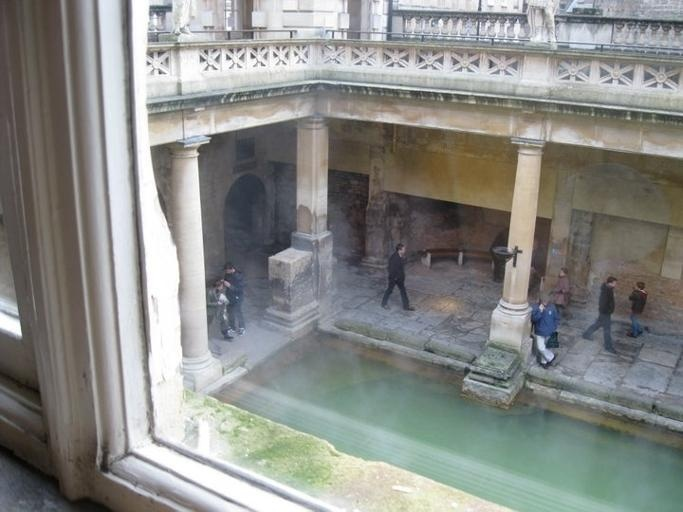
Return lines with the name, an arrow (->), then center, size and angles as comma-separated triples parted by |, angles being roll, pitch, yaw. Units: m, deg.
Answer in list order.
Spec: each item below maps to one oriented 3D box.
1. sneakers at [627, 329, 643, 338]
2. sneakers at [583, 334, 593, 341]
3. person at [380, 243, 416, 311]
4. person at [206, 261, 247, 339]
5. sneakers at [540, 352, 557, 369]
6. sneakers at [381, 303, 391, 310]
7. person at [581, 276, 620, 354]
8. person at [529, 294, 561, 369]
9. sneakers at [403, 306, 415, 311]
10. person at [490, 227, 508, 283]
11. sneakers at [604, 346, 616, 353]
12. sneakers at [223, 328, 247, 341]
sneakers -> 7.117, 1.913, 13.011 | 0.143, 0.269, 0.274 | -20, 32, -29
sneakers -> 5.865, 1.961, 12.717 | 0.120, 0.166, 0.044 | 7, -8, 3
person -> 1.542, 0.474, 14.072 | 0.831, 1.850, 0.947 | 6, 19, 8
person -> -2.627, 1.168, 12.062 | 0.515, 1.582, 1.250 | 11, 21, 22
sneakers -> 4.499, 2.297, 11.628 | 0.238, 0.581, 0.198 | -2, 47, -12
sneakers -> 1.161, 1.349, 14.050 | 0.225, 0.224, 0.108 | 3, 43, 3
person -> 6.063, 1.259, 12.213 | 0.721, 1.793, 0.777 | 12, 21, 24
person -> 4.391, 1.692, 11.592 | 0.654, 1.367, 0.463 | 12, 21, 24
sneakers -> 1.771, 1.384, 14.085 | 0.291, 0.128, 0.108 | -7, 25, -16
person -> 4.854, -0.090, 16.625 | 0.495, 1.161, 1.889 | 8, 20, 15
sneakers -> 6.123, 2.173, 12.262 | 0.281, 0.190, 0.097 | 3, 44, 18
sneakers -> -2.484, 1.801, 12.329 | 0.530, 0.230, 0.184 | -18, 31, -4
